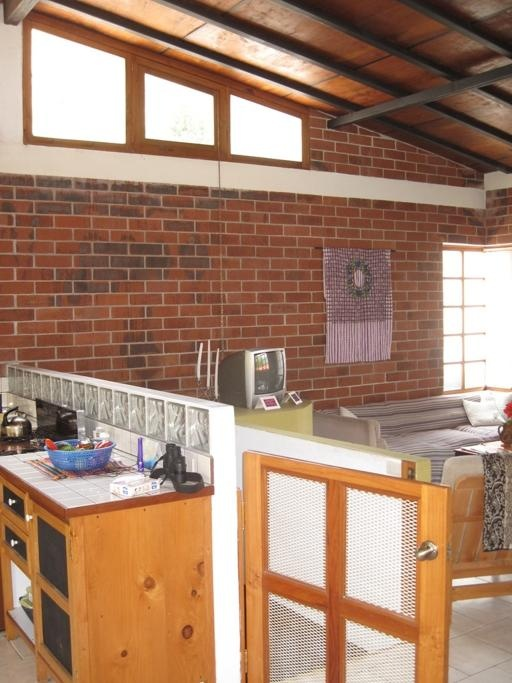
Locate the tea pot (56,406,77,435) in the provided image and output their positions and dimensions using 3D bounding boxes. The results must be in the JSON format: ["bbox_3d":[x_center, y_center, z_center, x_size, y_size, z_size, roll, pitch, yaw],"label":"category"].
[{"bbox_3d":[-0.846,0.356,2.717,0.070,0.108,0.133,1,1,-34],"label":"tea pot"}]

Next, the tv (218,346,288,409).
[{"bbox_3d":[-0.040,0.223,4.262,0.417,0.397,0.421,5,9,43],"label":"tv"}]

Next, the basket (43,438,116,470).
[{"bbox_3d":[-0.678,0.423,2.272,0.304,0.091,0.203,2,6,43],"label":"basket"}]

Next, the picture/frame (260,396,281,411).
[{"bbox_3d":[0.098,0.388,3.834,0.133,0.066,0.188,-2,4,-8],"label":"picture/frame"}]

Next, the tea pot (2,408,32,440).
[{"bbox_3d":[-1.223,0.419,3.087,0.159,0.154,0.161,1,5,0],"label":"tea pot"}]

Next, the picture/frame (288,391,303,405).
[{"bbox_3d":[0.268,0.373,4.034,0.079,0.102,0.027,-26,-11,-21],"label":"picture/frame"}]

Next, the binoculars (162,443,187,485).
[{"bbox_3d":[-0.263,0.391,1.970,0.080,0.123,0.052,-5,-1,40],"label":"binoculars"}]
